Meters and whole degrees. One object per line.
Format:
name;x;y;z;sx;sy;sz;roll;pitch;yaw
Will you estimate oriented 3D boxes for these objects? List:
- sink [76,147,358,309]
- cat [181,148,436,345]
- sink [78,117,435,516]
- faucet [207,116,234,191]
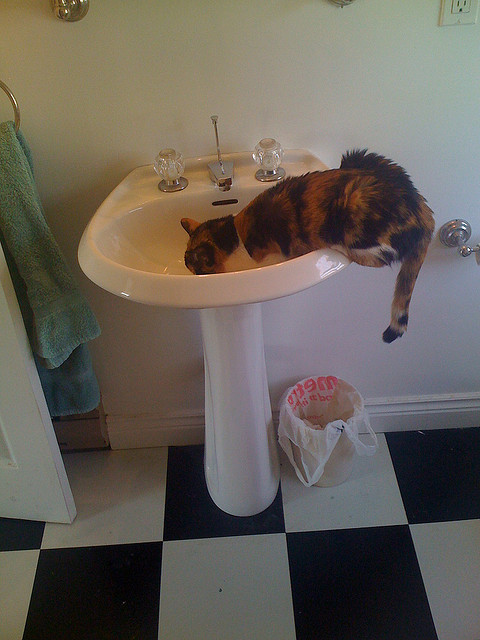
sink;-0.050;-0.137;0.880;0.417;0.162;0.477;-4;37;1
cat;0.161;-0.122;0.995;0.351;0.114;0.322;-19;58;9
sink;-0.007;0.124;1.076;0.581;0.774;0.421;-2;38;2
faucet;-0.047;-0.339;0.963;0.051;0.116;0.169;-5;37;-1
